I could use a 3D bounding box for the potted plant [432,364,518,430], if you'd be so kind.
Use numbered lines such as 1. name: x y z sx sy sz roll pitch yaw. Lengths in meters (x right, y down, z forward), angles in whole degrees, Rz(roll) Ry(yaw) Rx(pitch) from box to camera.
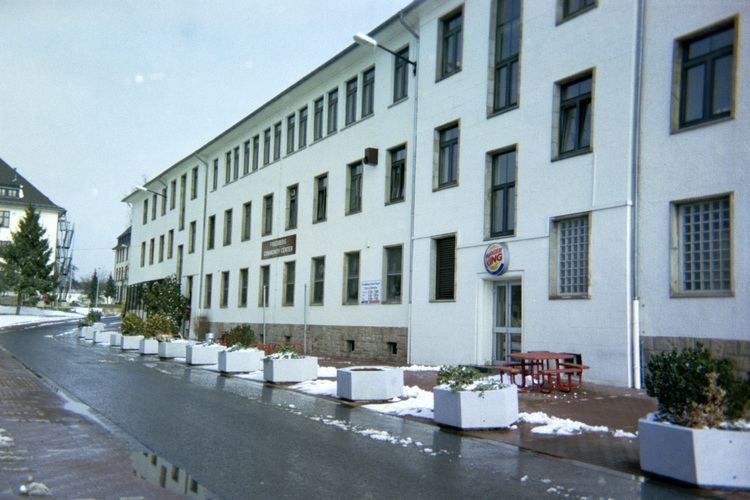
1. potted plant: 1.992 3.037 12.211 1.253 0.960 1.274 -5 -8 36

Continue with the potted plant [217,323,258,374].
1. potted plant: -4.919 3.595 21.818 1.449 1.803 1.231 1 -11 2

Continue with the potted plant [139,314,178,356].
1. potted plant: -10.834 4.379 29.154 1.730 2.599 2.287 4 -5 -19

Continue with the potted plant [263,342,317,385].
1. potted plant: -2.784 3.703 19.544 1.481 0.789 2.144 1 -7 -7
